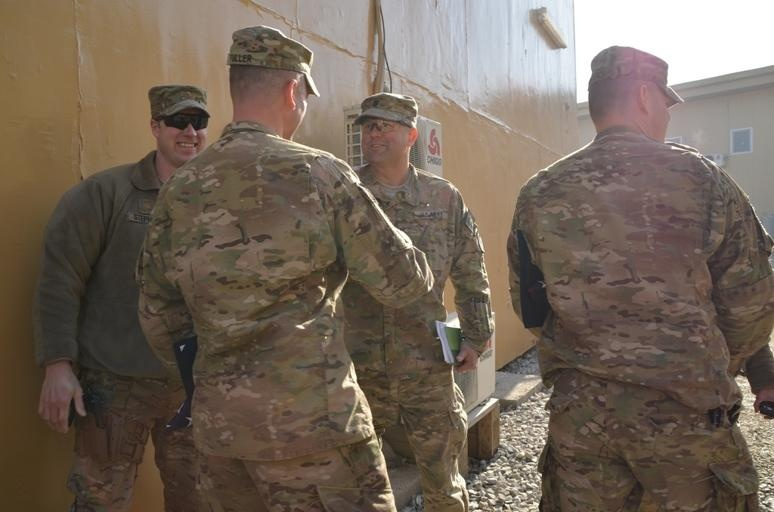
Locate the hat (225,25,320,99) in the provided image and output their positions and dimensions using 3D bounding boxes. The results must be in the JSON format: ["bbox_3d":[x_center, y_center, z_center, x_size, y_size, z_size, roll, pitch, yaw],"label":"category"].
[{"bbox_3d":[-0.513,-0.930,3.732,0.504,0.198,0.345,13,5,-31],"label":"hat"}]

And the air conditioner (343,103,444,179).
[{"bbox_3d":[0.106,-0.712,5.695,0.325,0.505,0.654,-8,-6,42],"label":"air conditioner"}]

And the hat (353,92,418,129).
[{"bbox_3d":[-0.008,-0.880,4.763,0.395,0.166,0.496,6,11,2],"label":"hat"}]

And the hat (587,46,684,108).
[{"bbox_3d":[1.276,-0.940,4.020,0.512,0.210,0.336,10,12,-10],"label":"hat"}]

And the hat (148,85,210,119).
[{"bbox_3d":[-1.157,-0.846,4.390,0.346,0.150,0.397,-1,7,-17],"label":"hat"}]
